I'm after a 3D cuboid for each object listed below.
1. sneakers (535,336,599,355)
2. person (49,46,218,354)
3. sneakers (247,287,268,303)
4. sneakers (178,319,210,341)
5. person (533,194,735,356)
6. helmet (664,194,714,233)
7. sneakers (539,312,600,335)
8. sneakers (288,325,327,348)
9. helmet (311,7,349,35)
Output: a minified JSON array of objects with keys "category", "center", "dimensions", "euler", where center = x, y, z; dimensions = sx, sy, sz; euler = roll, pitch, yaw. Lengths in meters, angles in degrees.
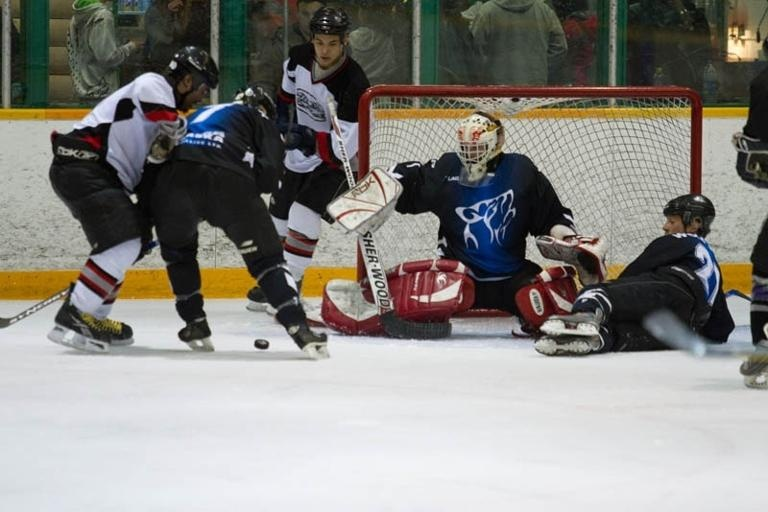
[{"category":"sneakers","center":[0.911,0.446,4.561],"dimensions":[0.357,0.107,0.155],"euler":[2,6,3]},{"category":"person","center":[-1.309,-0.285,4.684],"dimensions":[0.826,1.534,0.480],"euler":[-2,13,-10]},{"category":"sneakers","center":[-0.836,0.250,5.960],"dimensions":[0.102,0.082,0.199],"euler":[-1,-4,-30]},{"category":"sneakers","center":[-0.986,0.391,4.783],"dimensions":[0.168,0.102,0.092],"euler":[1,1,8]},{"category":"person","center":[1.337,0.111,4.746],"dimensions":[1.219,0.671,0.667],"euler":[-9,6,-11]},{"category":"helmet","center":[1.695,-0.238,5.103],"dimensions":[0.256,0.211,0.201],"euler":[4,-6,11]},{"category":"sneakers","center":[0.925,0.342,4.501],"dimensions":[0.322,0.104,0.132],"euler":[3,31,4]},{"category":"sneakers","center":[-0.386,0.400,4.504],"dimensions":[0.179,0.118,0.119],"euler":[-2,12,-10]},{"category":"helmet","center":[-0.312,-1.370,5.357],"dimensions":[0.185,0.172,0.195],"euler":[4,14,15]}]
